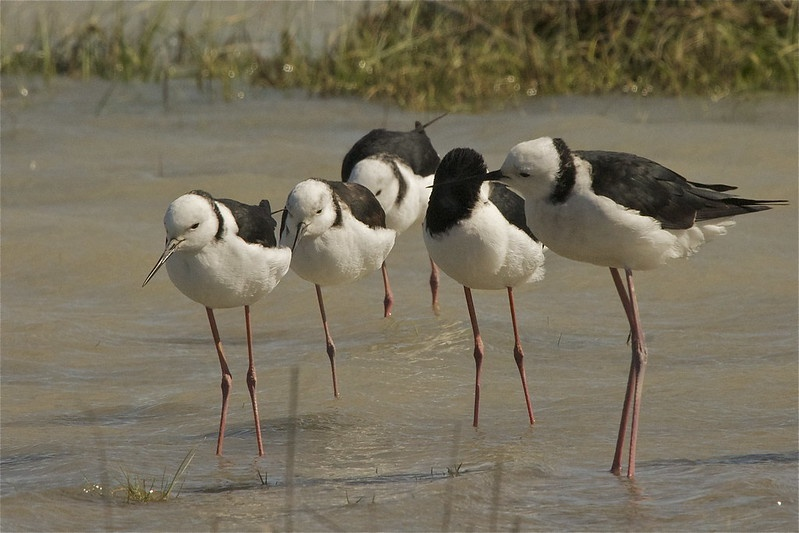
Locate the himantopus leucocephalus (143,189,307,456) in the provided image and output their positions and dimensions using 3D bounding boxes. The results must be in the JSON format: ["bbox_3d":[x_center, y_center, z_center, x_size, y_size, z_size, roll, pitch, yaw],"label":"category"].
[{"bbox_3d":[-1.668,0.521,9.963,1.016,2.558,1.038,4,16,14],"label":"himantopus leucocephalus"}]
